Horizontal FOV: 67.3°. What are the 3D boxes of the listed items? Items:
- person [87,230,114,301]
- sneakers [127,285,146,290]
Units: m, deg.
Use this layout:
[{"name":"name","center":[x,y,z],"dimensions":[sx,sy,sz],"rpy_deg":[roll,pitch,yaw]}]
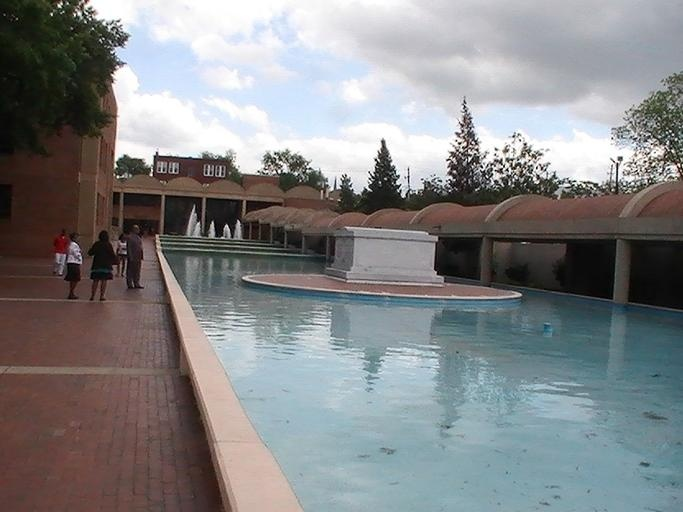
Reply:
[{"name":"person","center":[-6.203,0.264,13.353],"dimensions":[0.605,1.291,1.548],"rpy_deg":[3,1,-23]},{"name":"sneakers","center":[-6.516,1.031,16.280],"dimensions":[0.452,0.183,0.141],"rpy_deg":[-2,-3,-9]}]
